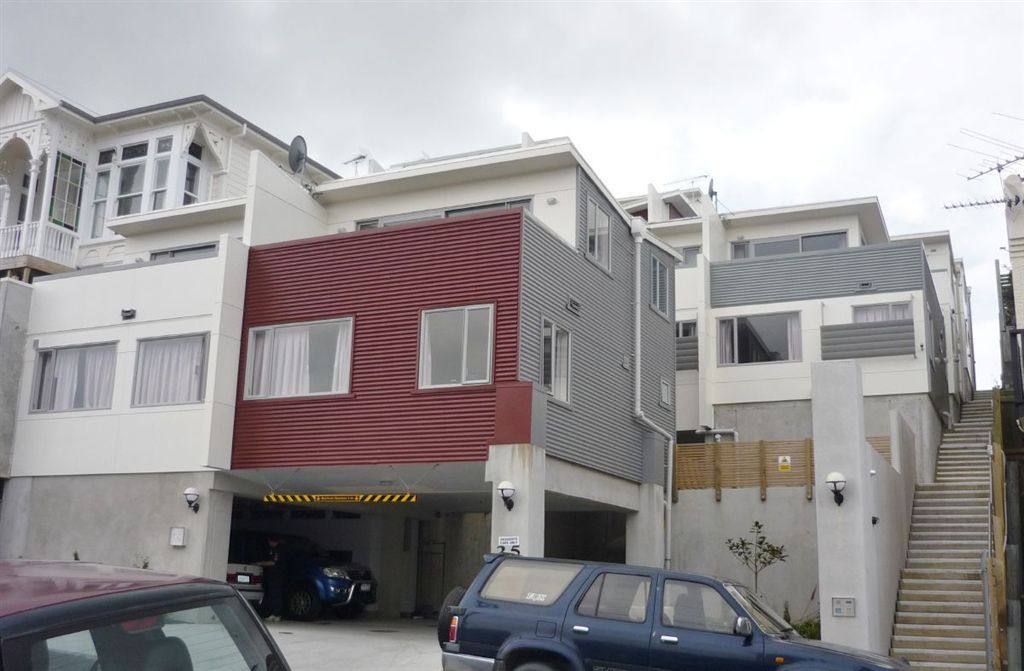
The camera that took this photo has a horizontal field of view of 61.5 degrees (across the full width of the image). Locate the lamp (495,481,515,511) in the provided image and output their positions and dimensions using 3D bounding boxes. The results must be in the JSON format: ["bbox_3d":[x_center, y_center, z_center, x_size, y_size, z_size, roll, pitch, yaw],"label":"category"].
[{"bbox_3d":[-0.074,3.417,18.454,0.502,0.664,0.544,3,-7,8],"label":"lamp"}]

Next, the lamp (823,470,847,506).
[{"bbox_3d":[6.639,3.101,17.490,0.424,0.651,0.258,-7,-16,21],"label":"lamp"}]

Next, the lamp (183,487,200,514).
[{"bbox_3d":[-7.780,3.948,20.846,0.415,0.568,0.272,-3,-15,8],"label":"lamp"}]

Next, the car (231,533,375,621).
[{"bbox_3d":[-5.671,6.349,22.887,4.017,1.821,2.005,-6,-12,26],"label":"car"}]
